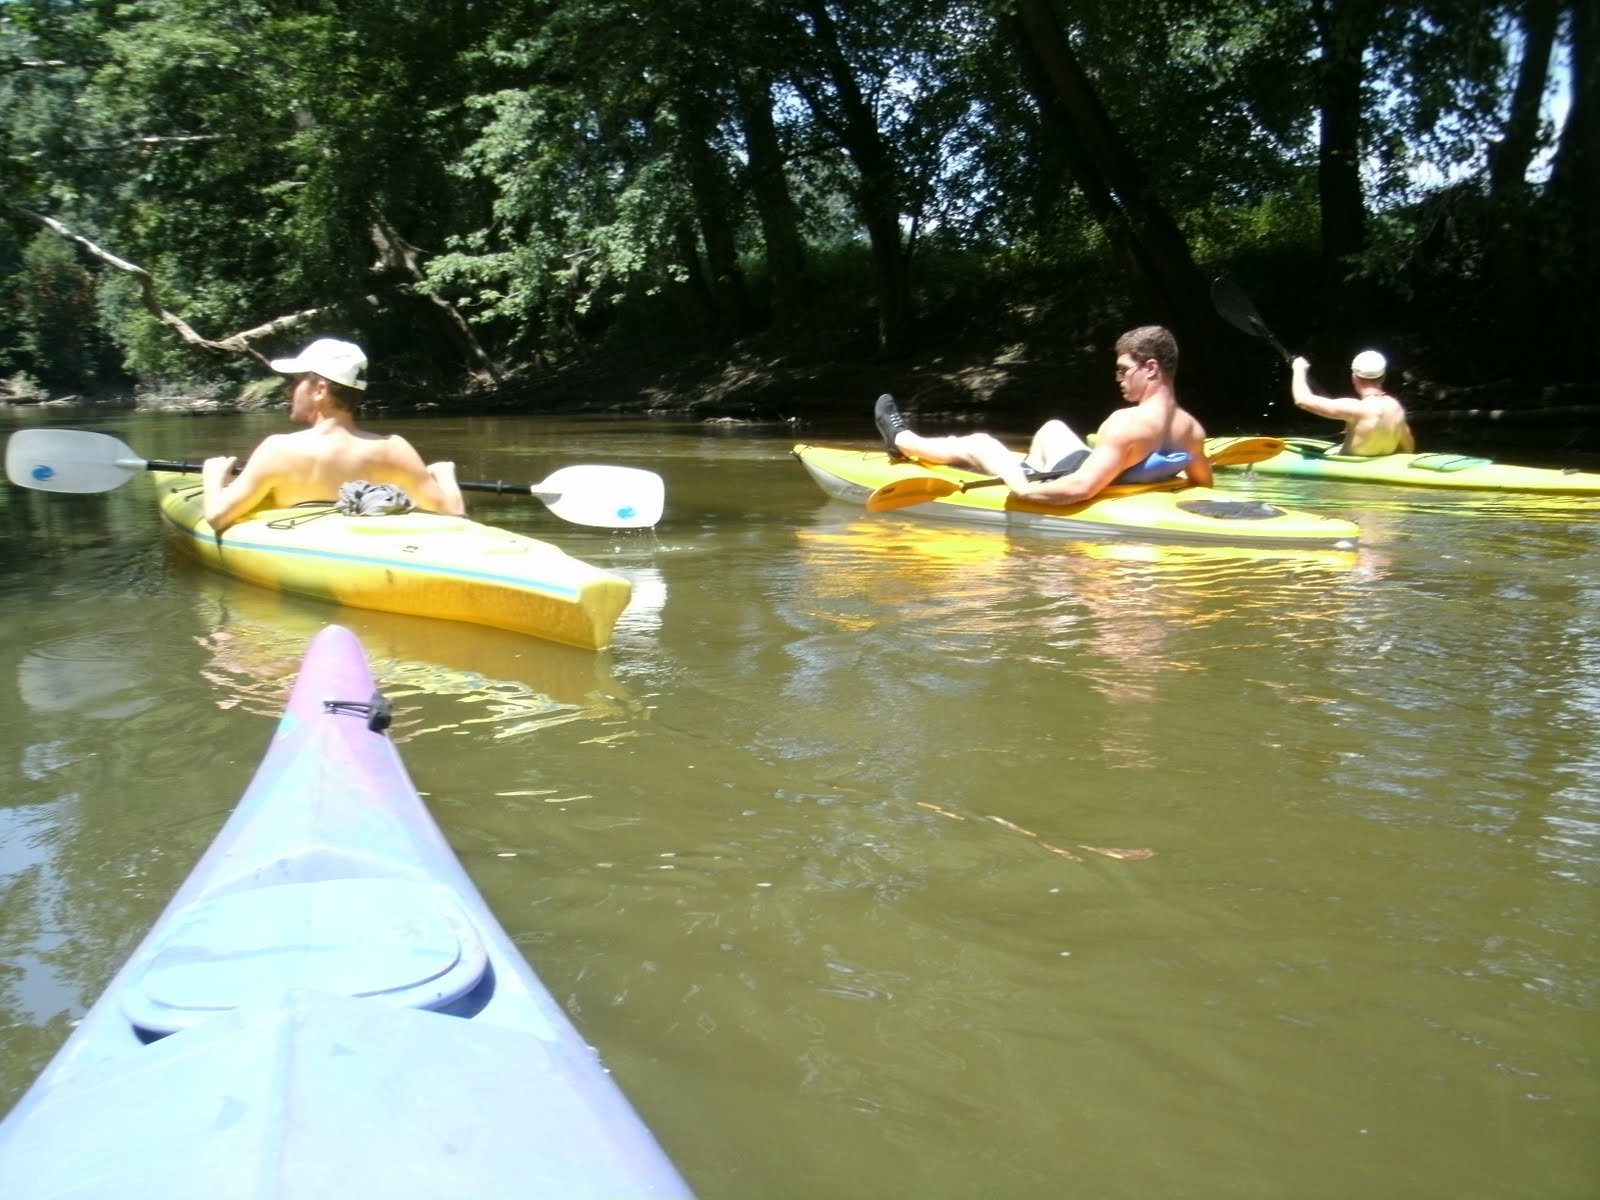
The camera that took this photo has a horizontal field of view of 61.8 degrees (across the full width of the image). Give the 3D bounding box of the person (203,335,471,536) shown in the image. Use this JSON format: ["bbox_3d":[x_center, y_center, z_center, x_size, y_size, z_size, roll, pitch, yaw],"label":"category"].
[{"bbox_3d":[-2.330,-0.803,6.362,1.433,0.476,0.848,14,15,40],"label":"person"}]

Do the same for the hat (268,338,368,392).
[{"bbox_3d":[-2.222,-1.077,5.923,0.541,0.184,0.287,3,1,-4],"label":"hat"}]

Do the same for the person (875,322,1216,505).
[{"bbox_3d":[1.528,-0.944,7.746,1.796,0.591,1.629,-6,14,-34],"label":"person"}]

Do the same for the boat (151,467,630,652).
[{"bbox_3d":[-1.853,-0.237,5.770,2.483,0.310,0.728,9,10,33],"label":"boat"}]
